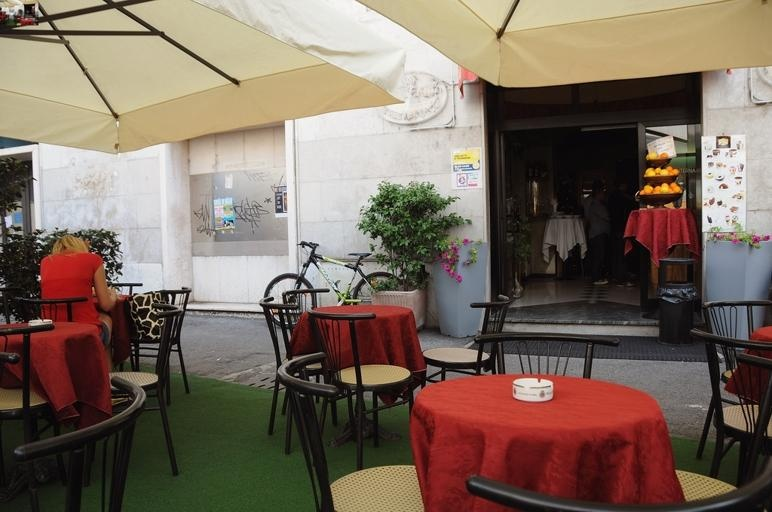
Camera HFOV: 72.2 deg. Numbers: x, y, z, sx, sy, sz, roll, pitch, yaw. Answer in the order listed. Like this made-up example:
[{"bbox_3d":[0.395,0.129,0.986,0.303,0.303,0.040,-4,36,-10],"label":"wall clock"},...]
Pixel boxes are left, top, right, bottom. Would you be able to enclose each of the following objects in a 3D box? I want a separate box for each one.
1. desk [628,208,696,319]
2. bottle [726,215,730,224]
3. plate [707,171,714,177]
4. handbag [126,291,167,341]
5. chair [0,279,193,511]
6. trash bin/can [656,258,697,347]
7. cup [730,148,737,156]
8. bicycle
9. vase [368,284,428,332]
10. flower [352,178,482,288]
[{"bbox_3d":[4.005,-0.054,7.460,0.869,1.203,0.876,-1,-5,-16],"label":"desk"},{"bbox_3d":[4.657,-0.495,7.195,0.073,0.113,0.019,-1,3,9],"label":"bottle"},{"bbox_3d":[4.456,-1.105,7.252,0.094,0.074,0.005,-1,3,13],"label":"plate"},{"bbox_3d":[-2.362,0.597,5.189,0.422,0.520,0.290,-2,-4,-19],"label":"handbag"},{"bbox_3d":[-2.384,0.972,4.636,1.239,1.250,2.970,-2,3,-19],"label":"chair"},{"bbox_3d":[3.774,0.566,6.872,0.418,1.064,0.489,0,3,26],"label":"trash bin/can"},{"bbox_3d":[4.713,-1.401,7.173,0.076,0.087,0.090,-1,-3,19],"label":"cup"},{"bbox_3d":[-0.850,0.471,8.669,2.215,1.273,0.989,1,5,-8],"label":"bicycle"},{"bbox_3d":[0.313,0.749,7.829,0.663,0.608,0.674,1,-6,-17],"label":"vase"},{"bbox_3d":[0.324,-0.550,8.098,1.228,1.269,0.973,5,5,43],"label":"flower"}]
